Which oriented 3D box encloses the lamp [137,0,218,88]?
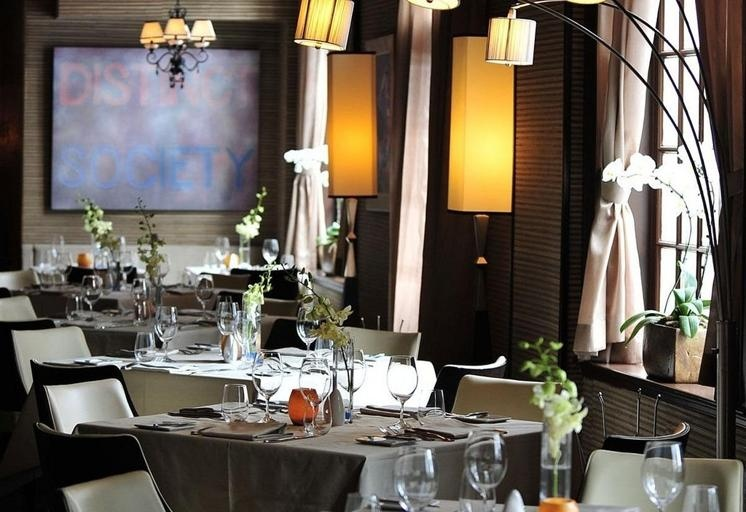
[{"bbox_3d":[-2.801,-3.003,9.474,1.061,1.758,0.973,1,6,-9],"label":"lamp"}]

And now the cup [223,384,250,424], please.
[{"bbox_3d":[-0.593,0.632,2.894,0.128,0.196,0.134,1,-4,0],"label":"cup"}]

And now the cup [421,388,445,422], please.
[{"bbox_3d":[0.249,0.688,3.104,0.122,0.176,0.172,2,-10,-5],"label":"cup"}]

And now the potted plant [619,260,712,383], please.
[{"bbox_3d":[1.875,0.456,4.298,0.556,0.838,0.653,3,-4,-23],"label":"potted plant"}]
